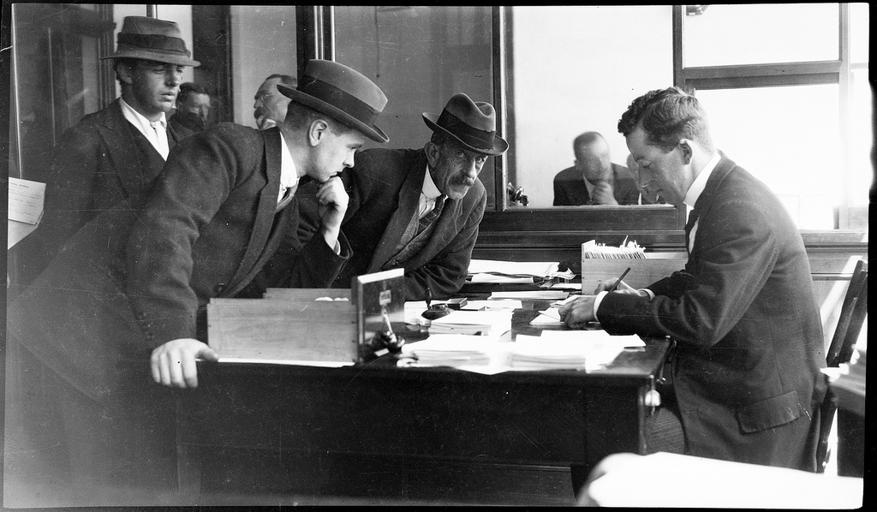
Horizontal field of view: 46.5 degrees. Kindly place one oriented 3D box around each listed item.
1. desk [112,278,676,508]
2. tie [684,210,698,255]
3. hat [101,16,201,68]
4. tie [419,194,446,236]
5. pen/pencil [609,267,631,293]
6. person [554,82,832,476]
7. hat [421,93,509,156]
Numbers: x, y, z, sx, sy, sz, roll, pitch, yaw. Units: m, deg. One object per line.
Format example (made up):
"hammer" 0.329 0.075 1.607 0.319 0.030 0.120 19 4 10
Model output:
"desk" -0.167 0.458 4.030 1.321 0.575 1.006 0 0 11
"tie" 0.967 -0.096 3.941 0.058 0.134 0.105 7 -9 4
"hat" -1.107 -0.823 3.974 0.264 0.119 0.257 6 -1 32
"tie" -0.019 -0.152 4.041 0.048 0.133 0.096 41 14 -10
"pen/pencil" 0.707 0.100 3.985 0.020 0.118 0.016 43 4 19
"person" 1.032 0.097 3.935 0.867 1.461 0.212 0 10 6
"hat" 0.131 -0.504 3.962 0.297 0.106 0.246 27 13 3
